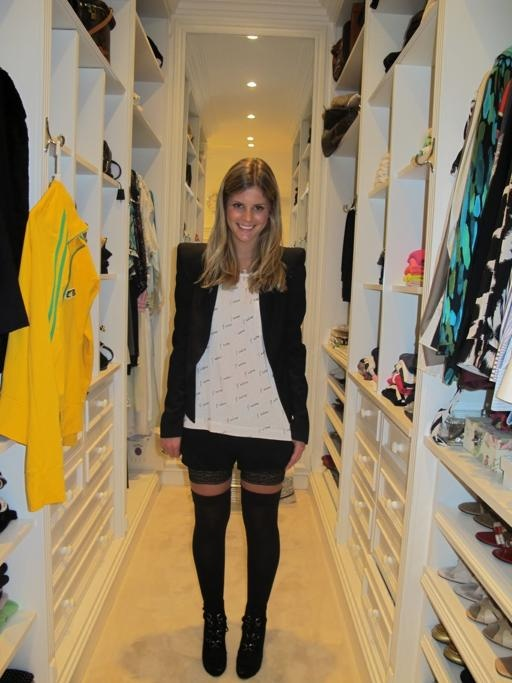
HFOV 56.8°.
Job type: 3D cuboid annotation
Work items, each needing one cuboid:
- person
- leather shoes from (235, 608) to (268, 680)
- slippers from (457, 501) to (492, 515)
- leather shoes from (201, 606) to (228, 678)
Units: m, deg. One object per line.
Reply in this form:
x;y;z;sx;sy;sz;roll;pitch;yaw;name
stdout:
-0.069;0.272;1.395;0.412;1.557;0.247;1;3;-13;person
-0.013;0.947;1.486;0.063;0.094;0.220;1;27;6;leather shoes
0.503;0.367;1.068;0.058;0.027;0.022;-8;11;-16;slippers
-0.131;0.954;1.494;0.059;0.230;0.080;-1;-12;-1;leather shoes
